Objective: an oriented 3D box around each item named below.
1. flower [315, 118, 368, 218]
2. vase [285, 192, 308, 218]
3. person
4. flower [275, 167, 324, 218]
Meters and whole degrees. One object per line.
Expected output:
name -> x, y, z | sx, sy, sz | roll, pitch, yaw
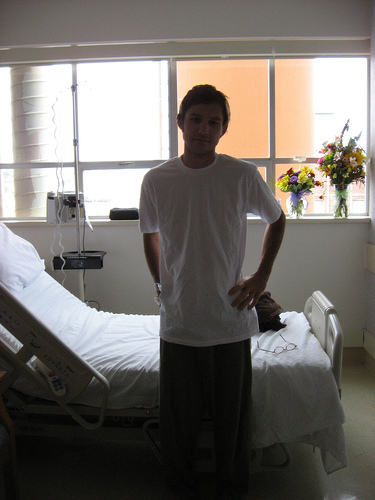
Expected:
flower -> 1.094, -0.567, 3.107 | 0.316, 0.665, 0.228 | 2, 5, 24
vase -> 0.774, -0.339, 3.188 | 0.144, 0.211, 0.162 | -1, 14, 1
person -> 0.077, 0.212, 1.480 | 0.482, 1.459, 0.310 | 0, 4, -6
flower -> 0.770, -0.500, 3.200 | 0.356, 0.412, 0.330 | 14, 23, 43
